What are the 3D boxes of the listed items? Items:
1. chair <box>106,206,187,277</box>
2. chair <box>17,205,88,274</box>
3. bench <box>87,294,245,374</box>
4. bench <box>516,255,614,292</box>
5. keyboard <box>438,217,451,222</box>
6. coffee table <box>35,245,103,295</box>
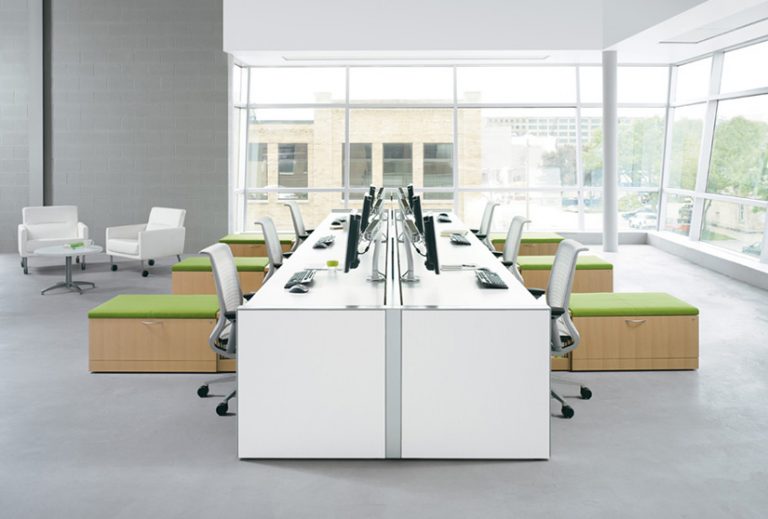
[{"bbox_3d":[-4.401,-0.325,10.847,1.382,1.449,1.461,1,2,24],"label":"chair"},{"bbox_3d":[-5.808,-0.316,10.363,1.419,1.361,1.083,-1,2,-32],"label":"chair"},{"bbox_3d":[-2.046,0.800,6.421,1.674,0.648,1.192,-2,2,24],"label":"bench"},{"bbox_3d":[2.489,0.198,8.191,0.990,0.390,0.652,0,1,1],"label":"bench"},{"bbox_3d":[0.914,-0.604,8.990,0.230,0.084,0.078,-2,12,-39],"label":"keyboard"},{"bbox_3d":[-4.961,0.183,9.321,0.951,0.538,0.937,1,3,27],"label":"coffee table"}]
